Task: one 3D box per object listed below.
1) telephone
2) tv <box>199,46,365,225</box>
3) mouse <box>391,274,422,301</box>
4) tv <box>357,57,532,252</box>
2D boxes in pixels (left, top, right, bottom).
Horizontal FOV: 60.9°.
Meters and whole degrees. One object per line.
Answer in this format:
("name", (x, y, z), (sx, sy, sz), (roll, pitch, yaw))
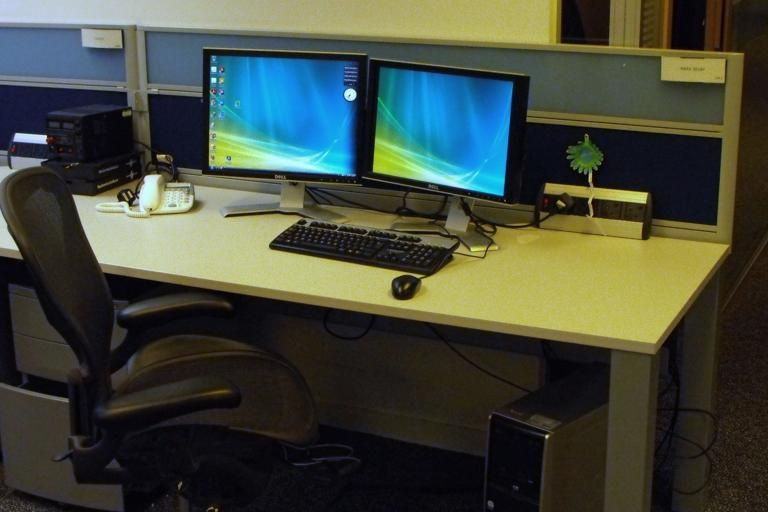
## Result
("telephone", (-0.886, -0.271, 2.622), (0.368, 0.167, 0.362), (0, 21, 2))
("tv", (-0.351, -0.494, 2.416), (0.641, 0.617, 0.193), (9, 22, 26))
("mouse", (0.071, 0.089, 1.947), (0.095, 0.052, 0.083), (-4, 21, -5))
("tv", (0.225, -0.369, 2.272), (0.554, 0.594, 0.242), (13, 26, 25))
